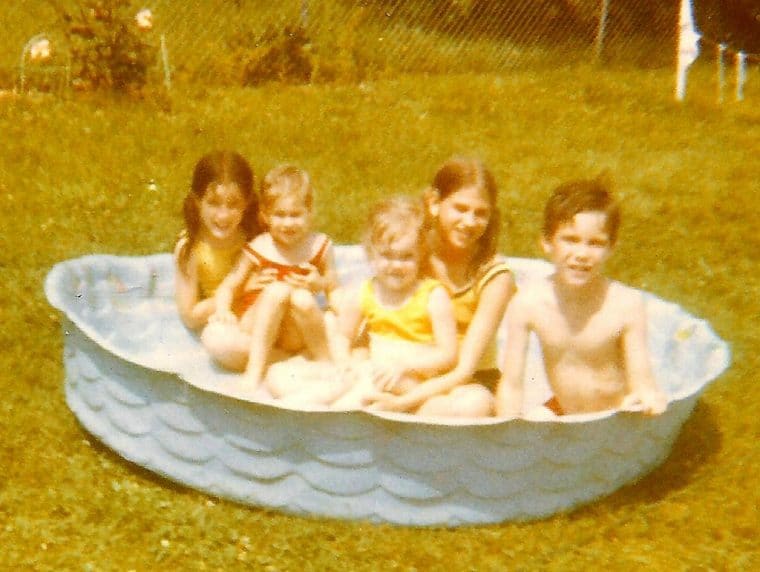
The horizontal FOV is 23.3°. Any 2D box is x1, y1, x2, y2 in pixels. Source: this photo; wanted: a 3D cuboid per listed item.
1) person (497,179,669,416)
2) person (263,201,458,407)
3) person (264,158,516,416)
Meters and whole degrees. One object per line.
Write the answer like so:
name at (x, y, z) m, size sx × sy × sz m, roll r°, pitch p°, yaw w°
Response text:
person at (0.797, 0.072, 7.380) m, size 0.625 × 0.947 × 0.360 m, roll 4°, pitch 21°, yaw 3°
person at (-0.064, 0.068, 7.348) m, size 0.605 × 0.787 × 0.558 m, roll 18°, pitch 24°, yaw 34°
person at (0.009, 0.065, 7.478) m, size 1.043 × 0.932 × 0.756 m, roll 0°, pitch 12°, yaw 10°
